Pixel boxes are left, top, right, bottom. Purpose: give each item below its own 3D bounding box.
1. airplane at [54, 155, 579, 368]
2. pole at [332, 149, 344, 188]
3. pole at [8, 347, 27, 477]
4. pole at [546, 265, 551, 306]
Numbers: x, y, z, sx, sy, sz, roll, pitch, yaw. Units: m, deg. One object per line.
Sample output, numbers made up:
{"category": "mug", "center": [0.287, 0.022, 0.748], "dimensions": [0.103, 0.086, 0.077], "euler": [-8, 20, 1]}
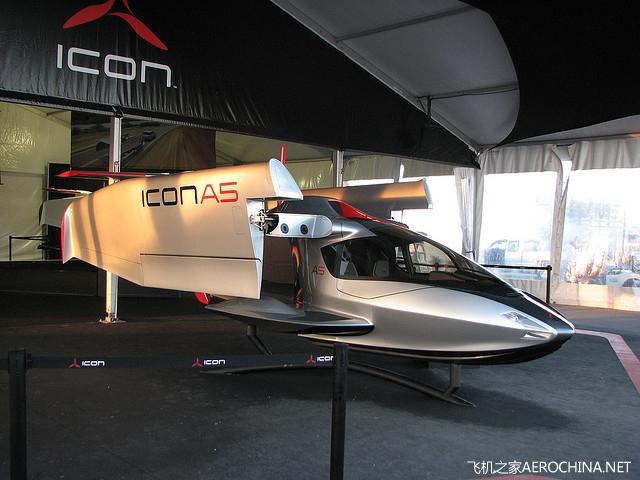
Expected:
{"category": "airplane", "center": [-0.168, 0.232, 3.898], "dimensions": [3.955, 1.199, 2.664], "euler": [5, 2, 16]}
{"category": "pole", "center": [0.344, -1.448, 8.947], "dimensions": [0.193, 0.712, 0.494], "euler": [2, 6, 0]}
{"category": "pole", "center": [-1.644, 0.944, 2.405], "dimensions": [0.087, 0.704, 0.166], "euler": [-2, 8, -33]}
{"category": "pole", "center": [3.971, 0.789, 7.692], "dimensions": [0.068, 0.639, 0.575], "euler": [5, 7, 27]}
